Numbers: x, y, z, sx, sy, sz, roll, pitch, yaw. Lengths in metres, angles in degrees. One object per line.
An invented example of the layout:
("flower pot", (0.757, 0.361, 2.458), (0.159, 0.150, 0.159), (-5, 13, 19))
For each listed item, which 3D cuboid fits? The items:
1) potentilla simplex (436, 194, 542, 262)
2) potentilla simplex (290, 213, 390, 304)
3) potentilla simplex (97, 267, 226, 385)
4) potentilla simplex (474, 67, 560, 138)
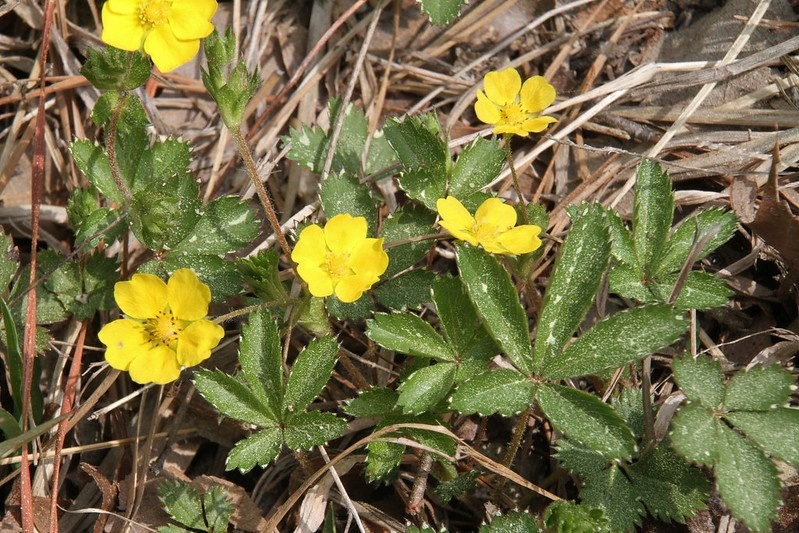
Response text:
("potentilla simplex", (0.463, -0.194, 3.873), (0.545, 0.344, 0.424), (6, 67, 1))
("potentilla simplex", (-0.339, -0.037, 3.885), (0.477, 0.524, 0.200), (-18, 55, 36))
("potentilla simplex", (-1.189, 0.298, 3.673), (0.599, 0.275, 0.528), (-13, 69, -7))
("potentilla simplex", (0.682, -0.956, 4.340), (0.498, 0.513, 0.242), (14, 73, -18))
